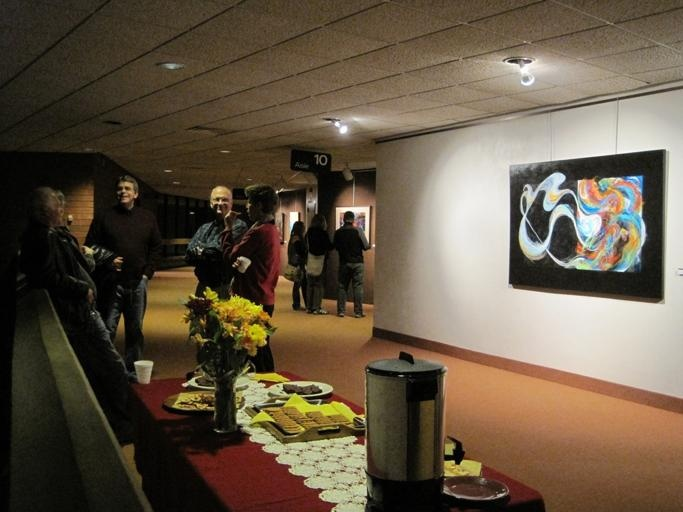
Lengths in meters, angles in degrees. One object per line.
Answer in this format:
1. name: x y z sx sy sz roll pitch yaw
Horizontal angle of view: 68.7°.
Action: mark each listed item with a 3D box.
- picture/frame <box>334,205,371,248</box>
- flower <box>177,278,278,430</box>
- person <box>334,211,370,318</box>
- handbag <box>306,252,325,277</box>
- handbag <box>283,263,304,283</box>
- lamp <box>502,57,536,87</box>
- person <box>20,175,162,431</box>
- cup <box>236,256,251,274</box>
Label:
1. picture/frame: 0.261 -0.612 10.239 0.999 0.932 0.069 2 2 35
2. flower: -0.451 0.379 2.132 0.473 0.614 0.486 3 0 -41
3. person: 0.183 0.174 9.564 0.653 2.043 0.462 -3 9 -1
4. handbag: -0.508 0.161 9.879 0.399 0.490 0.217 5 -26 1
5. handbag: -0.975 0.366 10.352 0.358 0.354 0.330 5 20 35
6. lamp: 1.608 -1.661 4.463 0.243 0.259 0.245 -12 9 -36
7. person: -1.750 0.405 3.323 0.361 1.719 0.571 6 13 43
8. cup: -0.730 0.058 3.706 0.124 0.087 0.096 26 7 7
